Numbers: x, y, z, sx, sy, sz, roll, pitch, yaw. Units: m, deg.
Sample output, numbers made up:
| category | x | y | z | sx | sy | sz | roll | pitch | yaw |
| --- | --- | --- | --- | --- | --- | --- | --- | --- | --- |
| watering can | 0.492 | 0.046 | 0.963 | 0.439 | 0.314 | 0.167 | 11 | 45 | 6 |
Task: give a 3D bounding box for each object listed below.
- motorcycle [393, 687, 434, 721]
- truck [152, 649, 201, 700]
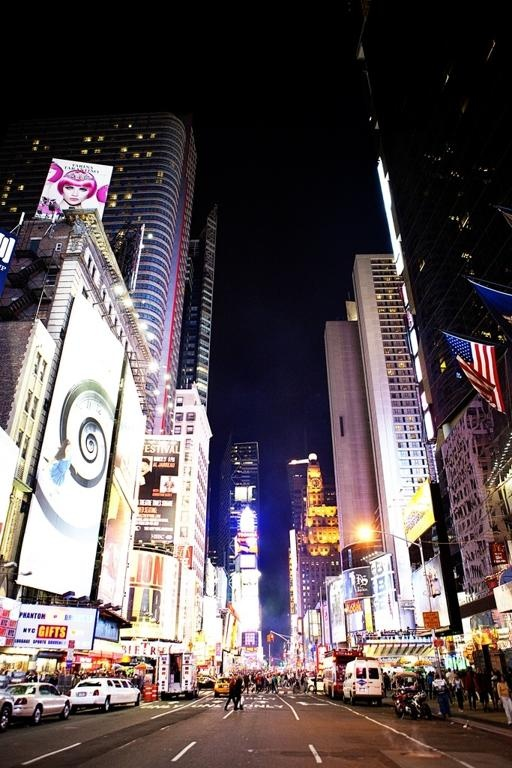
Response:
| category | x | y | z | sx | sy | sz | roll | pitch | yaw |
| --- | --- | --- | --- | --- | --- | --- | --- | --- | --- |
| motorcycle | 6.787 | 13.956 | 20.143 | 0.895 | 1.010 | 1.893 | 15 | -31 | -30 |
| truck | -6.225 | 22.507 | 35.287 | 2.710 | 3.549 | 5.275 | -1 | -27 | 4 |
